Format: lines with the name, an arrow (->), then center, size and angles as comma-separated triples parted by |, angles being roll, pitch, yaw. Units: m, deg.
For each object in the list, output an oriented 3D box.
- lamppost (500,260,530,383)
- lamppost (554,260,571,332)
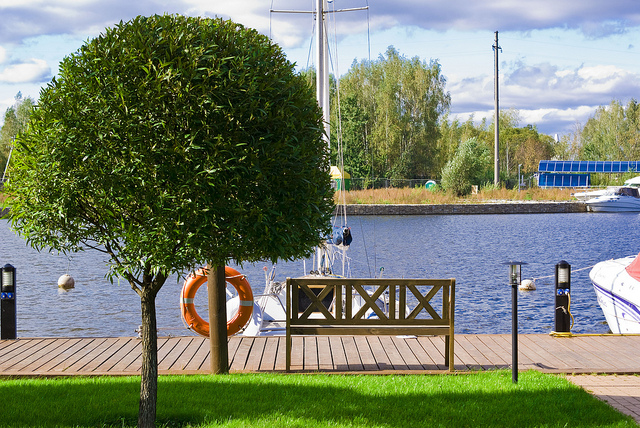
lamppost -> 4.239, 2.277, 21.793 | 0.342, 2.567, 0.845 | 0, 4, 11
lamppost -> 5.808, 1.953, 24.104 | 0.383, 1.659, 0.418 | -1, 4, 7
